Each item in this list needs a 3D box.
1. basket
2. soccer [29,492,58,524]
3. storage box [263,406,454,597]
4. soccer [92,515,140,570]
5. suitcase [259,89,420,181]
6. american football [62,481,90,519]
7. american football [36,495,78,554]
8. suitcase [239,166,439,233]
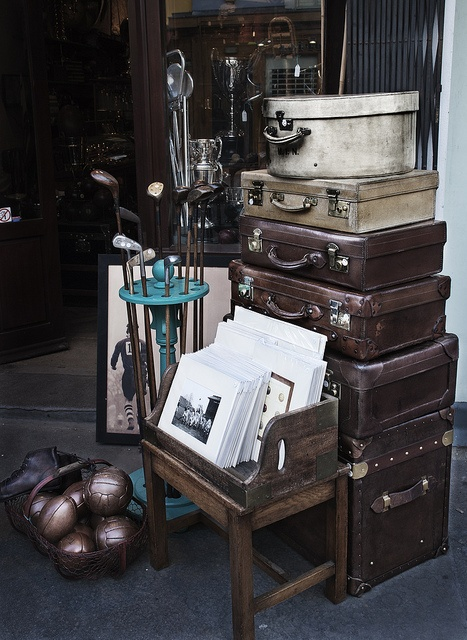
[{"bbox_3d":[-0.574,0.687,1.896,0.314,0.307,0.498,-4,6,-36],"label":"basket"},{"bbox_3d":[-0.709,0.693,1.952,0.072,0.097,0.079,3,-17,0],"label":"soccer"},{"bbox_3d":[0.439,0.493,1.930,0.636,0.551,0.561,0,21,-15],"label":"storage box"},{"bbox_3d":[-0.413,0.712,1.793,0.153,0.195,0.150,-3,9,-21],"label":"soccer"},{"bbox_3d":[0.281,-0.530,1.577,0.421,0.279,0.380,-10,24,-33],"label":"suitcase"},{"bbox_3d":[-0.569,0.648,1.911,0.090,0.103,0.122,-12,4,5],"label":"american football"},{"bbox_3d":[-0.616,0.699,1.837,0.123,0.137,0.139,-6,21,-27],"label":"american football"},{"bbox_3d":[0.309,-0.341,1.474,0.201,0.075,0.259,-19,25,-40],"label":"suitcase"}]
